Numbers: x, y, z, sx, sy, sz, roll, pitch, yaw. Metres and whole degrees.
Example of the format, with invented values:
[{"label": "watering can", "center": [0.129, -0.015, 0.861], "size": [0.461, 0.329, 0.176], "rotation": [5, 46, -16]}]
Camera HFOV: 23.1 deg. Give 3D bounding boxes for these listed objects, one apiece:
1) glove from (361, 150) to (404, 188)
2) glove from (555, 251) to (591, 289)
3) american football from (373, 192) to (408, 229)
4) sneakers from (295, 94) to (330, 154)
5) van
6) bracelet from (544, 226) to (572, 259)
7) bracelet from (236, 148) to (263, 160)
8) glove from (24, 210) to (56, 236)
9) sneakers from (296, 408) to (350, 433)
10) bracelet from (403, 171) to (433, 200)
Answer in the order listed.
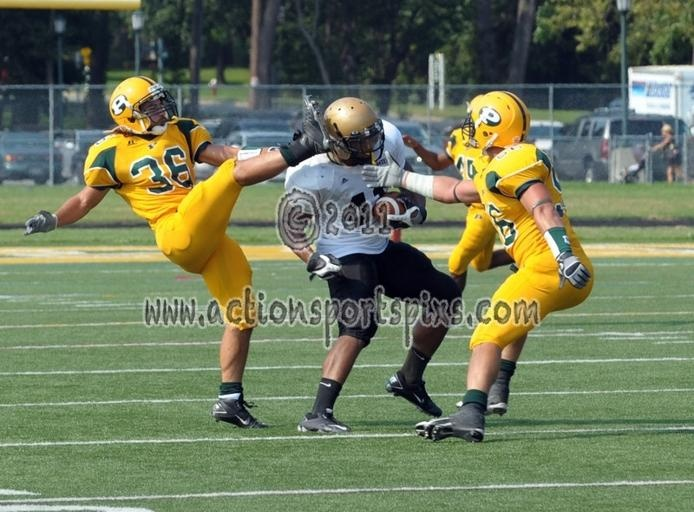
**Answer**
[{"label": "glove", "center": [0.343, -0.863, 16.868], "size": [0.410, 0.369, 0.199], "rotation": [1, 15, 1]}, {"label": "glove", "center": [2.196, 0.137, 16.635], "size": [0.338, 0.361, 0.235], "rotation": [3, 15, 7]}, {"label": "american football", "center": [0.404, -0.459, 17.190], "size": [0.300, 0.272, 0.374], "rotation": [-17, 25, -25]}, {"label": "sneakers", "center": [-0.310, -1.309, 16.714], "size": [0.212, 0.596, 0.241], "rotation": [-27, 15, -26]}, {"label": "van", "center": [5.027, -2.103, 32.455], "size": [1.271, 0.884, 2.349], "rotation": [-3, 11, -15]}, {"label": "bracelet", "center": [2.036, -0.129, 16.590], "size": [0.212, 0.262, 0.167], "rotation": [-26, -12, -15]}, {"label": "bracelet", "center": [-0.984, -1.018, 16.967], "size": [0.244, 0.093, 0.389], "rotation": [0, 14, -4]}, {"label": "glove", "center": [-3.175, -0.346, 17.618], "size": [0.329, 0.221, 0.134], "rotation": [-7, -31, -1]}, {"label": "sneakers", "center": [-0.259, 1.663, 17.058], "size": [0.598, 0.254, 0.209], "rotation": [2, -5, 1]}, {"label": "bracelet", "center": [0.698, -0.732, 16.911], "size": [0.349, 0.195, 0.152], "rotation": [15, 0, 7]}]
